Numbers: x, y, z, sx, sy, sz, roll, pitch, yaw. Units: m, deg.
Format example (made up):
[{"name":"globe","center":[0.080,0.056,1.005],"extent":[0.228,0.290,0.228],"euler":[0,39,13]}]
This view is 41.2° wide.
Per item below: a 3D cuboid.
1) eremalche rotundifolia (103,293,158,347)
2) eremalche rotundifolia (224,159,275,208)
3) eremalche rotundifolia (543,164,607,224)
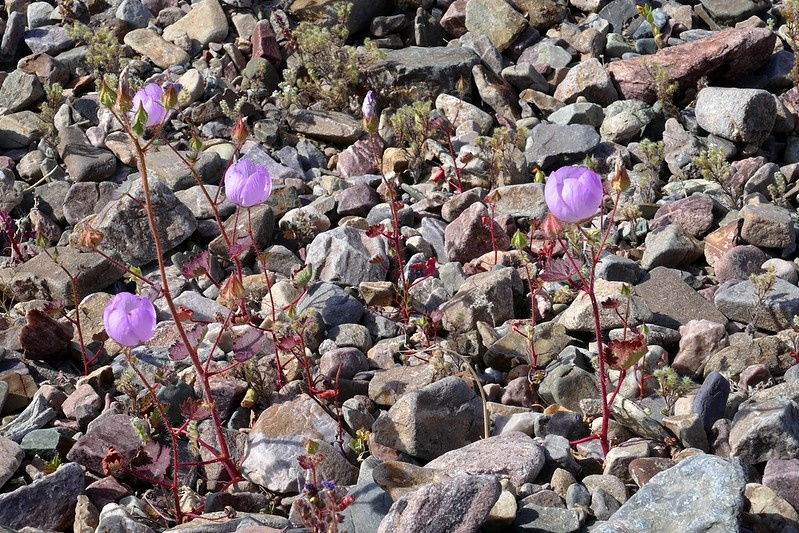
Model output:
[{"name":"eremalche rotundifolia","center":[-2.057,0.433,8.198],"extent":[0.399,0.488,0.353],"euler":[-11,16,-28]},{"name":"eremalche rotundifolia","center":[-1.232,-0.657,8.628],"extent":[0.262,0.331,0.442],"euler":[1,72,1]},{"name":"eremalche rotundifolia","center":[1.366,-0.486,8.064],"extent":[0.396,0.494,0.460],"euler":[-6,7,32]}]
